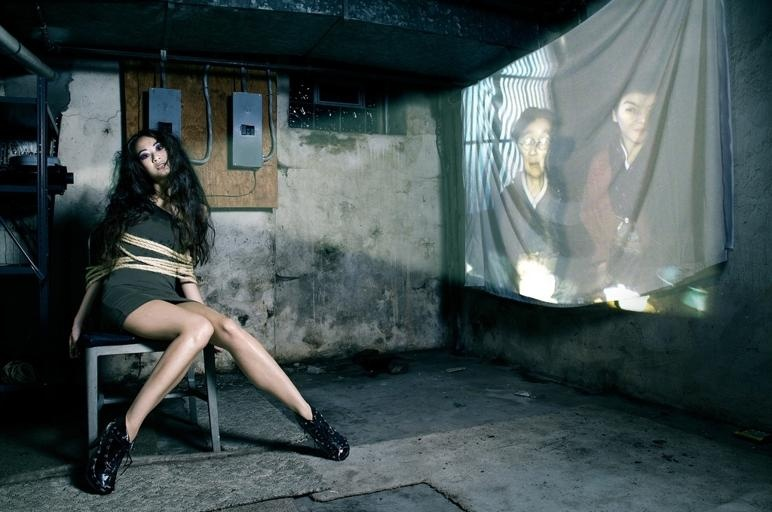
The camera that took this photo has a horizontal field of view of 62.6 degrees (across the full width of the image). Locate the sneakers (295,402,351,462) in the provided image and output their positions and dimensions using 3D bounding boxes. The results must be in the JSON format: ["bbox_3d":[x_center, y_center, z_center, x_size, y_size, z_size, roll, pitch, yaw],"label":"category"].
[{"bbox_3d":[-0.397,1.202,4.257,0.245,0.429,0.140,-43,-3,-35],"label":"sneakers"}]

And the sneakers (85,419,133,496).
[{"bbox_3d":[-1.679,1.240,3.976,0.252,0.544,0.203,-16,-35,13],"label":"sneakers"}]
